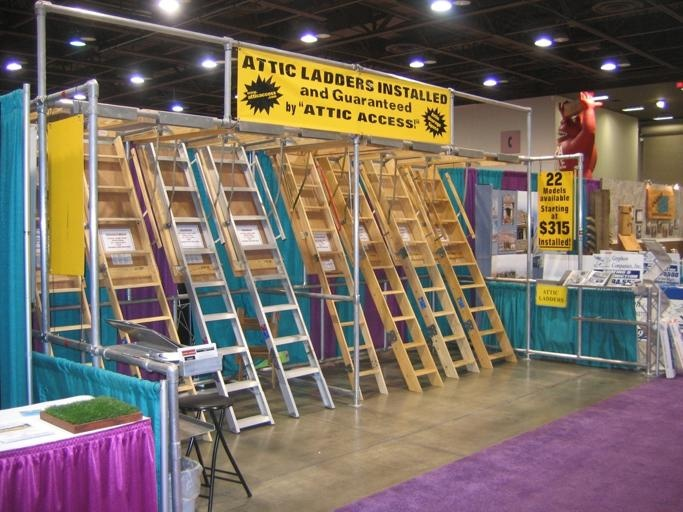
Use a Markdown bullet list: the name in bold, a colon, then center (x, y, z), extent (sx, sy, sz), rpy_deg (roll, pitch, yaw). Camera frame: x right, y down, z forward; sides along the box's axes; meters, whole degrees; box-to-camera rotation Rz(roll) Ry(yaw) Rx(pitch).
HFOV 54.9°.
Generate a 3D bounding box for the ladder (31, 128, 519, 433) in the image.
- **ladder**: center (-0.744, 0.251, 6.932), extent (1.278, 2.242, 3.391), rpy_deg (-7, 0, 41)

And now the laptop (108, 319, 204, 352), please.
- **laptop**: center (-1.321, 0.522, 4.421), extent (0.533, 0.157, 0.390), rpy_deg (4, 3, 32)
